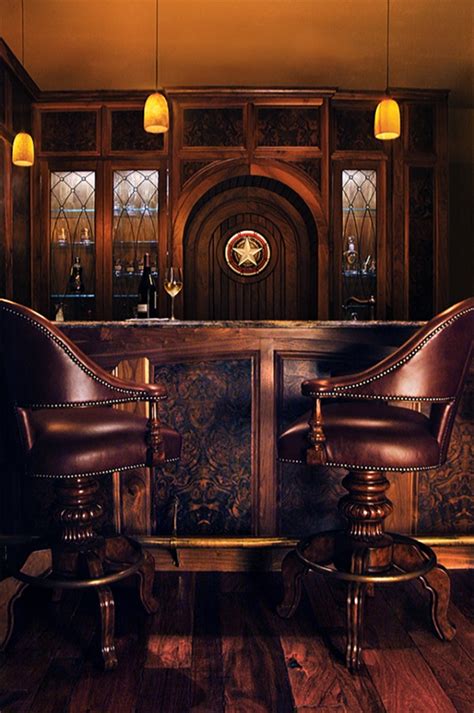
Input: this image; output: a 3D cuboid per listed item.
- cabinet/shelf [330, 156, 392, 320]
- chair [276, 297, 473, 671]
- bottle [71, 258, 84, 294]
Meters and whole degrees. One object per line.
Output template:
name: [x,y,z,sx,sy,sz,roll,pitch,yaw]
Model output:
cabinet/shelf: [0.799,-0.727,3.814,0.358,1.358,0.112,0,-22,11]
chair: [0.340,0.285,1.457,0.478,0.846,0.401,1,2,3]
bottle: [-1.034,-0.525,3.767,0.082,0.231,0.074,0,3,-18]
